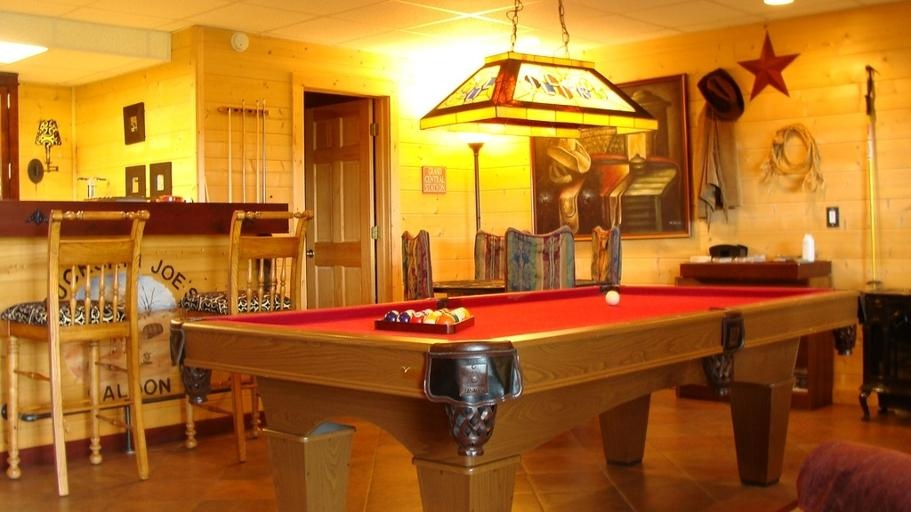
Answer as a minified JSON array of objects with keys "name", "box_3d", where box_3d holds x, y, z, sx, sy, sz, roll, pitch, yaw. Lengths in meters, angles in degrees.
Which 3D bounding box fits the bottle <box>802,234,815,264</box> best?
[{"name":"bottle","box_3d":[3.503,-0.090,7.027,0.131,0.259,0.439,5,11,26]}]

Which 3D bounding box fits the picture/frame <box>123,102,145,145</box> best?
[{"name":"picture/frame","box_3d":[-3.727,-1.551,8.280,0.586,0.595,0.087,-4,-4,44]}]

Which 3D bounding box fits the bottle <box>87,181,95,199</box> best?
[{"name":"bottle","box_3d":[-3.613,-0.666,7.078,0.049,0.163,0.460,-5,10,-23]}]

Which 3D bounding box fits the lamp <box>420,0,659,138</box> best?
[{"name":"lamp","box_3d":[0.663,-1.149,5.682,1.491,1.531,1.253,4,-5,-42]}]

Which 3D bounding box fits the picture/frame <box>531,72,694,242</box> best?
[{"name":"picture/frame","box_3d":[1.717,-1.009,7.295,2.212,1.842,0.164,-1,1,41]}]
